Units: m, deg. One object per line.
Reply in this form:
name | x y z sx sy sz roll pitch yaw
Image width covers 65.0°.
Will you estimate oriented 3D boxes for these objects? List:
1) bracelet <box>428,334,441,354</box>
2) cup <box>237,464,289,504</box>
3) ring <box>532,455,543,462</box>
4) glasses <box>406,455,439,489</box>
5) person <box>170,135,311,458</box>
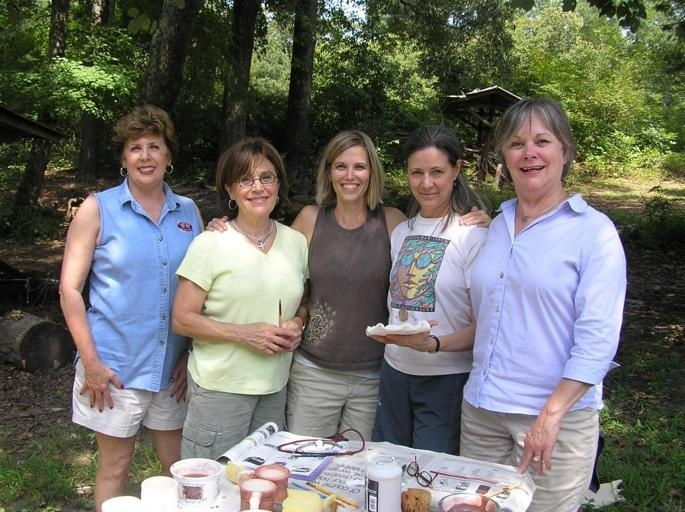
bracelet | 0.592 0.575 3.468 0.071 0.111 0.081 5 4 8
cup | -0.380 1.102 2.577 0.294 0.123 0.145 -10 10 -43
ring | 1.024 1.072 2.840 0.041 0.032 0.038 -5 5 0
glasses | 0.406 1.135 2.805 0.122 0.057 0.213 2 4 -34
person | -0.674 0.292 3.676 0.930 2.227 0.637 3 5 -17
